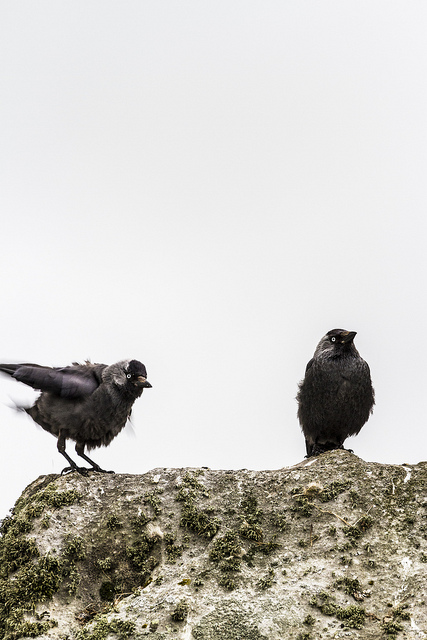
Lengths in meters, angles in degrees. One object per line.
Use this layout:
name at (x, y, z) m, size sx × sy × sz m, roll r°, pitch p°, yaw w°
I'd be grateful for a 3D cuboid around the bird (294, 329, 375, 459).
bird at (1.818, 0.927, 16.227) m, size 0.813 × 1.277 × 1.517 m, roll 5°, pitch -38°, yaw -13°
